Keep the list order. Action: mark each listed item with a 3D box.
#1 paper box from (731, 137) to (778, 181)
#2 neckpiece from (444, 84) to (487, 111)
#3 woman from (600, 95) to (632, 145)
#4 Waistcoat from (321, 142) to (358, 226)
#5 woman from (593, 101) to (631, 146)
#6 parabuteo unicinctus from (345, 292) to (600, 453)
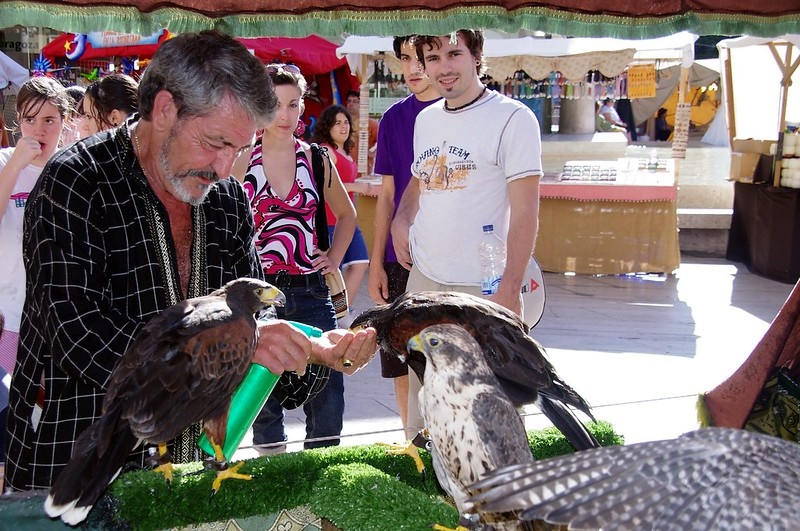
[{"bbox_3d":[5.125,-1.574,10.325,0.521,0.568,0.407,2,6,-1],"label":"paper box"},{"bbox_3d":[0.360,-0.897,3.705,0.158,0.040,0.164,-30,8,4],"label":"neckpiece"},{"bbox_3d":[5.353,-3.536,17.036,0.674,1.296,0.437,1,12,21],"label":"woman"},{"bbox_3d":[-0.625,-0.965,7.920,0.334,0.623,0.538,-15,23,-2],"label":"Waistcoat"},{"bbox_3d":[5.238,-3.458,16.825,0.709,1.380,0.481,5,1,27],"label":"woman"},{"bbox_3d":[0.231,0.331,2.816,1.097,0.634,0.421,6,12,15],"label":"parabuteo unicinctus"}]
